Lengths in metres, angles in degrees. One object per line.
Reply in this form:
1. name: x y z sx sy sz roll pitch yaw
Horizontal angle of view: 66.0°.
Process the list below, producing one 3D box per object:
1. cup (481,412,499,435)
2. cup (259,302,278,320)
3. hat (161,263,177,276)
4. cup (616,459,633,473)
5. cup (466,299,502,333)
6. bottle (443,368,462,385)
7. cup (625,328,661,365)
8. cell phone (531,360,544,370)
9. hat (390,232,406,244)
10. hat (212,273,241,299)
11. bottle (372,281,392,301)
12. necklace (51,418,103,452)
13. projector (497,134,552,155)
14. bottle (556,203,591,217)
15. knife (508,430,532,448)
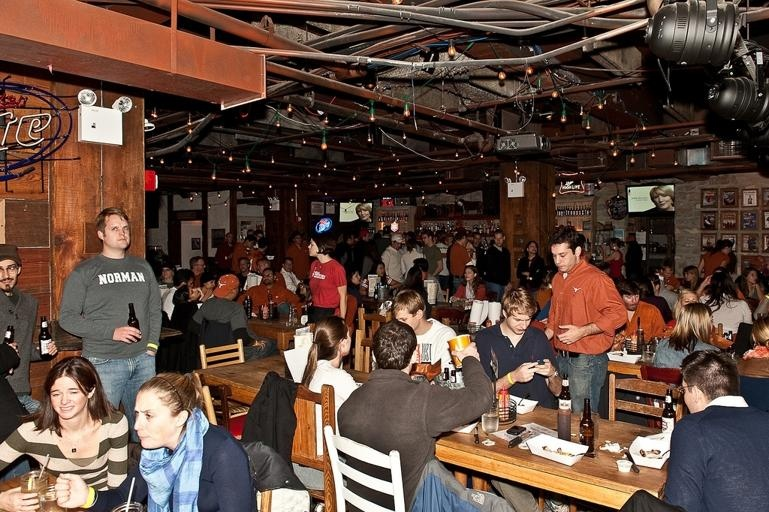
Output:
1. cup: 0.734 1.168 4.130 0.134 0.148 0.138 0 -11 0
2. cup: -1.571 0.771 8.119 0.225 0.222 0.174 -9 -8 39
3. hat: -3.960 0.250 10.873 0.170 0.179 0.221 2 11 7
4. cup: 1.508 1.315 3.714 0.070 0.037 0.068 0 -3 0
5. cup: 1.245 0.759 7.400 0.535 0.546 0.281 0 4 1
6. bottle: 0.484 0.856 4.204 0.113 0.057 0.152 0 10 4
7. cup: 2.630 0.930 6.065 0.260 0.155 0.363 2 7 36
8. cell phone: 1.199 0.851 4.625 0.079 0.041 0.111 0 2 38
9. hat: 0.250 -0.332 10.987 0.233 0.177 0.169 3 -2 -33
10. hat: -1.820 0.355 6.932 0.202 0.128 0.320 9 29 3
11. bottle: -0.048 0.590 9.756 0.225 0.339 0.345 0 -4 -3
12. necklace: -1.931 1.165 3.760 0.255 0.195 0.078 -6 6 -15
13. projector: 2.013 -1.652 8.730 0.410 0.156 0.422 -1 -1 29
14. bottle: 5.250 -1.265 16.479 0.973 0.307 0.065 0 4 39
15. knife: 0.916 1.257 4.039 0.098 0.027 0.099 -20 -1 -10
